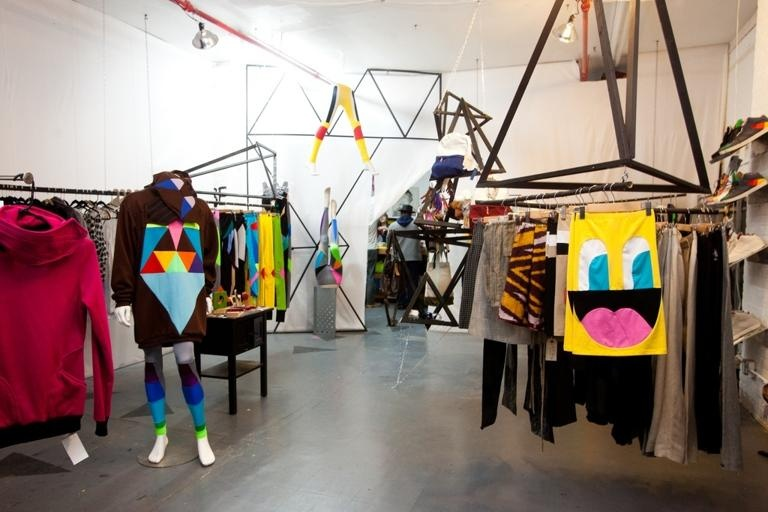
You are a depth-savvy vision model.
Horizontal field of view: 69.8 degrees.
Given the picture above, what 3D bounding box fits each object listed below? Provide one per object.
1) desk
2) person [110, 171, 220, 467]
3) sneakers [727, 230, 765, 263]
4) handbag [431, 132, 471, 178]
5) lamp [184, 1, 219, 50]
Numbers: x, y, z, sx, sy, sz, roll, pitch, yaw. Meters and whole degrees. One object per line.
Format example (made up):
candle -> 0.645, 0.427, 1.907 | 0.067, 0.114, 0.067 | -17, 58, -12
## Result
desk -> -1.538, 1.009, 5.584 | 0.490, 0.940, 0.716 | 3, 5, 15
person -> -1.799, 0.504, 4.645 | 0.735, 2.348, 0.687 | -1, 13, -1
sneakers -> 2.986, -0.081, 4.557 | 0.251, 0.176, 0.535 | 9, 17, 32
handbag -> 0.732, -0.943, 5.494 | 0.328, 0.436, 0.425 | -3, -19, 27
lamp -> -2.211, -2.749, 6.608 | 0.361, 0.443, 0.383 | 0, 9, 38
